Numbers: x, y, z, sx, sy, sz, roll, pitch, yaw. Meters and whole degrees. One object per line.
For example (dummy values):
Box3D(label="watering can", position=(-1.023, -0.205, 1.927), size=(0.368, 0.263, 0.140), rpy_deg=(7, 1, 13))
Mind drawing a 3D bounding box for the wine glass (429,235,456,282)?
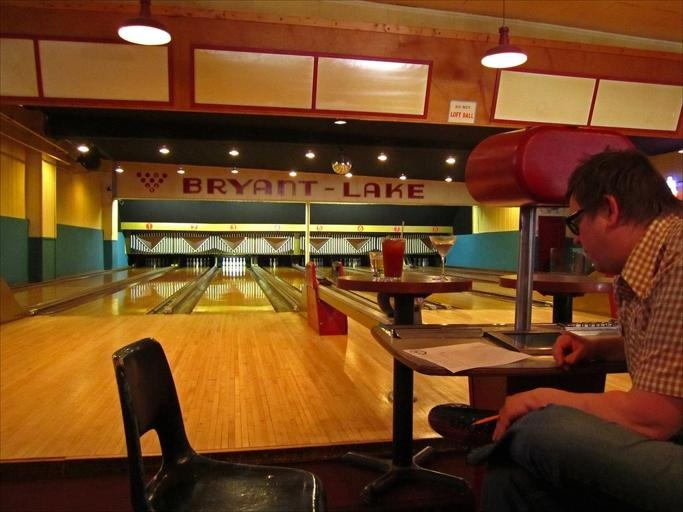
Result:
Box3D(label="wine glass", position=(0.478, -0.001, 2.338), size=(0.140, 0.204, 0.146), rpy_deg=(3, 8, 31))

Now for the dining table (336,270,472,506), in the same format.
Box3D(label="dining table", position=(0.270, 0.527, 2.139), size=(0.670, 0.762, 0.617), rpy_deg=(5, -8, -25))

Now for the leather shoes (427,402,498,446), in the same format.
Box3D(label="leather shoes", position=(0.339, 0.466, 1.410), size=(0.173, 0.093, 0.063), rpy_deg=(3, 6, 21))

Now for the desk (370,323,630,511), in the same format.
Box3D(label="desk", position=(0.380, 0.530, 1.675), size=(0.719, 0.461, 0.708), rpy_deg=(1, -1, -3))

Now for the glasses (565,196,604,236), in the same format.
Box3D(label="glasses", position=(0.613, -0.109, 1.279), size=(0.023, 0.079, 0.078), rpy_deg=(45, 5, 22))

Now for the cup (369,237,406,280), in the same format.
Box3D(label="cup", position=(0.211, 0.015, 2.189), size=(0.137, 0.186, 0.196), rpy_deg=(1, -7, -5))
